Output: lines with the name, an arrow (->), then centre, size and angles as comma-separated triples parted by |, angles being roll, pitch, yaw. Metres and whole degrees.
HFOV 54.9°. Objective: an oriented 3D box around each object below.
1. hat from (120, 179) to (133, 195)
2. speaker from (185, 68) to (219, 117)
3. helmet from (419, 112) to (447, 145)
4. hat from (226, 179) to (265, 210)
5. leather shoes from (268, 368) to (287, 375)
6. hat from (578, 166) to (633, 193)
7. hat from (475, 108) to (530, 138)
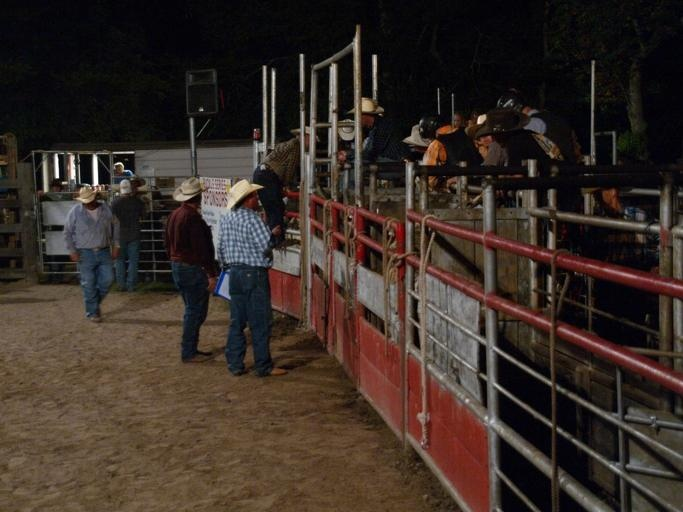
hat -> -4.372, -1.386, 13.291 | 0.222, 0.232, 0.350 | 3, 11, -10
speaker -> -2.682, -3.164, 12.740 | 0.773, 0.879, 1.154 | 0, 8, -9
helmet -> 1.288, -1.846, 9.730 | 0.384, 0.481, 0.492 | -2, -1, -37
hat -> -1.075, -0.672, 6.966 | 0.420, 0.164, 0.350 | -40, 20, -5
leather shoes -> -0.695, 1.243, 7.074 | 0.186, 0.091, 0.072 | -2, 4, 0
hat -> 1.915, -0.566, 4.799 | 0.296, 0.172, 0.221 | -10, 8, 0
hat -> 1.520, -1.279, 6.299 | 0.333, 0.136, 0.320 | -17, 27, 20
